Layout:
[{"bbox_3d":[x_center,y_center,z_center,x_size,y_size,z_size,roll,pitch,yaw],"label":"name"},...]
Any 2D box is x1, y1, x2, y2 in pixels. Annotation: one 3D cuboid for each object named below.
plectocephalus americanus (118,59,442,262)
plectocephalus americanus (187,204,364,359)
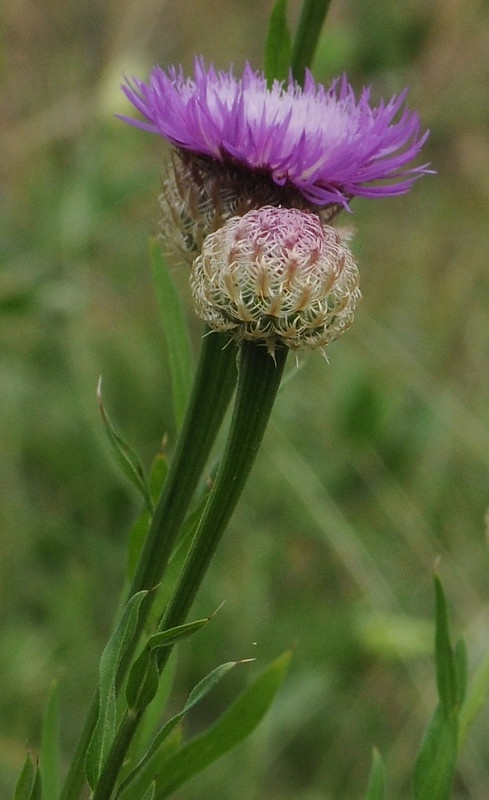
[{"bbox_3d":[0.016,-0.100,0.349,0.109,0.108,0.076,10,-85,-71],"label":"plectocephalus americanus"},{"bbox_3d":[0.011,-0.038,0.318,0.062,0.059,0.060,3,-16,-5],"label":"plectocephalus americanus"}]
